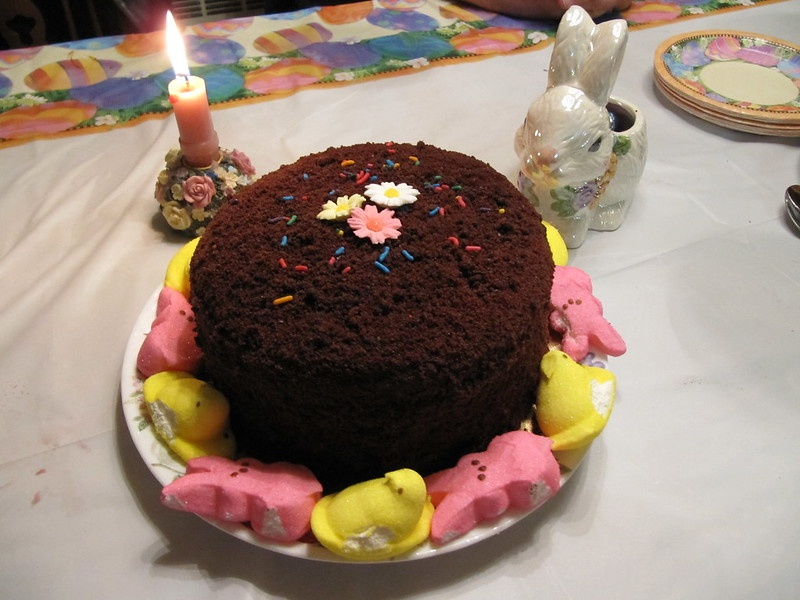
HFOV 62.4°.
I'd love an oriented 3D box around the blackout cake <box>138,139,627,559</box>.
[{"bbox_3d":[-0.094,0.075,1.447,0.976,0.393,0.880,-17,51,-12],"label":"blackout cake"}]
